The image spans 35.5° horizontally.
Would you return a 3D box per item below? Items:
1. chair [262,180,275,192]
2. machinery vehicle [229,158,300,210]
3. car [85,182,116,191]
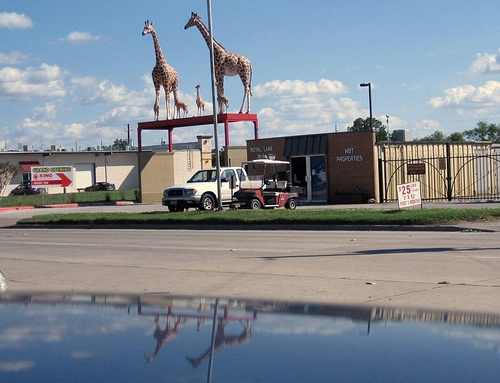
[{"bbox_3d":[0.697,-0.243,30.017,0.688,0.272,0.304,-1,1,-45],"label":"chair"},{"bbox_3d":[0.660,-0.290,31.025,2.800,2.194,1.701,2,-3,-45],"label":"machinery vehicle"},{"bbox_3d":[-14.606,-0.427,75.739,2.286,0.782,1.128,3,2,19],"label":"car"}]
